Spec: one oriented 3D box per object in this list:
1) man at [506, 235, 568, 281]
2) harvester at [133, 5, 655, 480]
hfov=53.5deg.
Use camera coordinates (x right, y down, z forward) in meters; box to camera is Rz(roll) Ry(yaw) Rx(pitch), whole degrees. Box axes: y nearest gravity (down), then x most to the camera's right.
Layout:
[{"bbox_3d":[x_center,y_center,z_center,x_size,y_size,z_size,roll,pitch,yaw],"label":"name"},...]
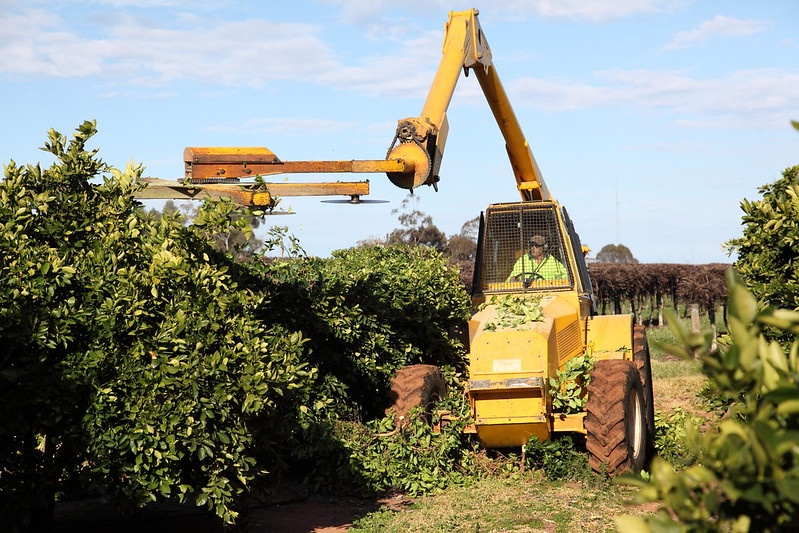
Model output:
[{"bbox_3d":[2.093,-0.066,12.172,0.973,0.825,0.510,-3,11,18],"label":"man"},{"bbox_3d":[1.149,-0.516,11.287,4.205,6.961,6.324,-1,4,40],"label":"harvester"}]
